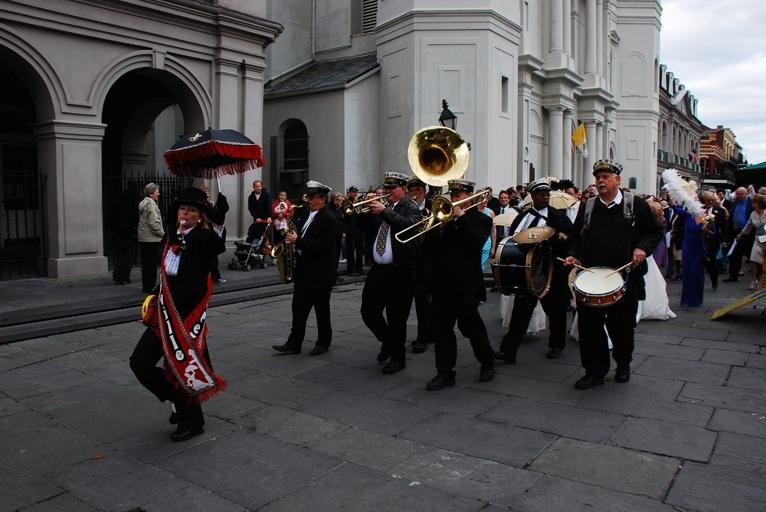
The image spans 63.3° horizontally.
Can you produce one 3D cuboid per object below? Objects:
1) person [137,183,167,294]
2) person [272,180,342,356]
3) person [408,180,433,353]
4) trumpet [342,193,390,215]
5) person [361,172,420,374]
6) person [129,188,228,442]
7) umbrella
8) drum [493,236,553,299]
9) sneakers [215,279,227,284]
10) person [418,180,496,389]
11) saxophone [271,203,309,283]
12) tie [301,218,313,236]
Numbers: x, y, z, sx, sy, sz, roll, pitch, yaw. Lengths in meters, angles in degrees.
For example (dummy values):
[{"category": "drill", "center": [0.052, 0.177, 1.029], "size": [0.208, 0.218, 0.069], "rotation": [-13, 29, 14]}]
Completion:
[{"category": "person", "center": [-4.910, -0.414, 13.138], "size": [0.594, 2.143, 0.718], "rotation": [-3, 8, -42]}, {"category": "person", "center": [-1.072, 0.154, 9.305], "size": [0.923, 2.641, 1.096], "rotation": [-1, -1, -3]}, {"category": "person", "center": [0.565, 0.256, 9.215], "size": [0.495, 2.294, 0.414], "rotation": [1, 0, -5]}, {"category": "trumpet", "center": [-0.156, -0.732, 8.490], "size": [0.246, 0.336, 0.725], "rotation": [33, 31, 31]}, {"category": "person", "center": [0.020, 0.263, 8.595], "size": [1.004, 2.666, 1.122], "rotation": [-1, -1, 32]}, {"category": "person", "center": [-2.251, 0.671, 7.145], "size": [1.139, 2.789, 1.068], "rotation": [-1, -4, 35]}, {"category": "umbrella", "center": [-3.654, -2.194, 13.517], "size": [2.022, 1.135, 1.409], "rotation": [-4, 15, -13]}, {"category": "drum", "center": [1.943, 0.202, 8.889], "size": [1.185, 1.075, 0.583], "rotation": [-1, -1, 33]}, {"category": "sneakers", "center": [-3.608, 0.569, 13.842], "size": [0.210, 0.090, 0.078], "rotation": [-2, 14, 10]}, {"category": "person", "center": [0.954, 0.376, 8.032], "size": [0.907, 2.605, 1.448], "rotation": [1, 0, 41]}, {"category": "saxophone", "center": [-1.472, -0.223, 9.193], "size": [0.313, 1.365, 0.542], "rotation": [-2, -1, 35]}, {"category": "tie", "center": [-1.123, -0.422, 9.072], "size": [0.059, 0.225, 0.181], "rotation": [34, 1, 5]}]
